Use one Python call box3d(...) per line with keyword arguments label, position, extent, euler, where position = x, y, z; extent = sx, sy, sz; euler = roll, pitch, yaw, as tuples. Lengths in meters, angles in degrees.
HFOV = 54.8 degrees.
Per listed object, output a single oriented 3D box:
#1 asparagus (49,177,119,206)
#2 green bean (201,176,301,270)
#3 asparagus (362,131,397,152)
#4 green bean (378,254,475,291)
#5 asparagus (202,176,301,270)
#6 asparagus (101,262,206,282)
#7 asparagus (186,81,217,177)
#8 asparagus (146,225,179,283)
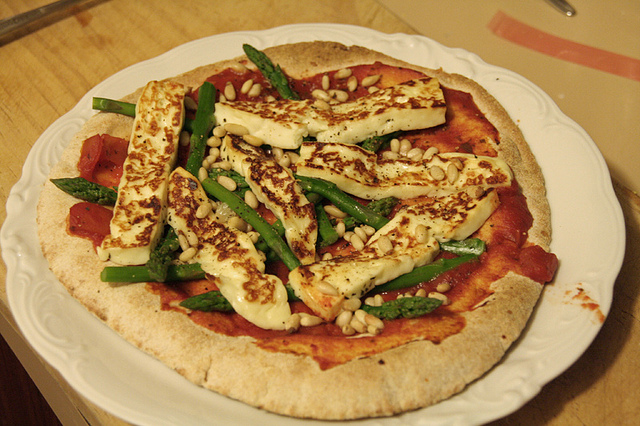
box3d(label="asparagus", position=(-2.528, -0.217, 6.883), extent=(0.865, 0.093, 0.288), euler=(18, 77, -2))
box3d(label="green bean", position=(-0.716, 0.144, 6.596), extent=(1.278, 0.185, 0.176), euler=(44, 98, 15))
box3d(label="asparagus", position=(0.704, -0.818, 7.234), extent=(0.326, 0.097, 0.218), euler=(-28, 115, -29))
box3d(label="green bean", position=(1.081, 0.645, 6.499), extent=(0.587, 0.648, 0.111), euler=(-14, 114, -35))
box3d(label="asparagus", position=(-0.658, 0.207, 6.673), extent=(1.260, 0.166, 0.167), euler=(48, 67, -24))
box3d(label="asparagus", position=(-1.742, 0.612, 6.367), extent=(0.866, 0.131, 0.181), euler=(-2, 69, -9))
box3d(label="asparagus", position=(-1.359, -0.960, 7.132), extent=(0.228, 0.172, 1.085), euler=(11, 65, -13))
box3d(label="asparagus", position=(-1.642, 0.428, 6.471), extent=(0.214, 0.171, 0.580), euler=(5, 52, -9))
